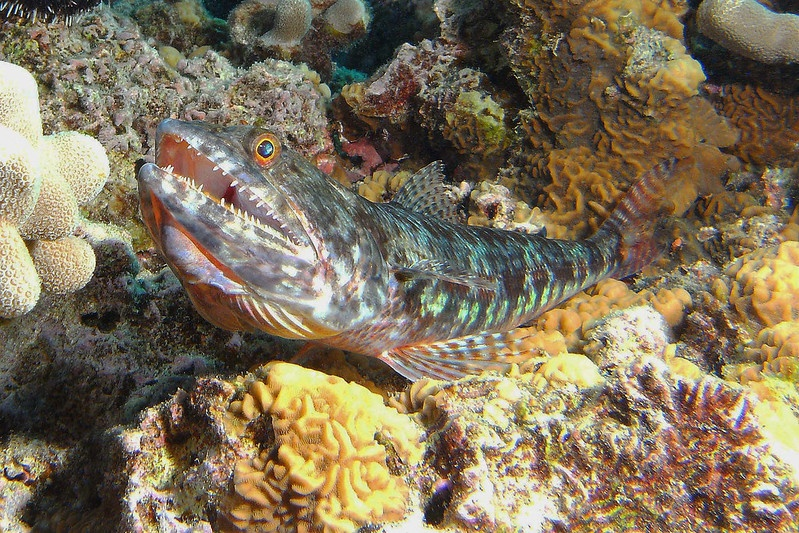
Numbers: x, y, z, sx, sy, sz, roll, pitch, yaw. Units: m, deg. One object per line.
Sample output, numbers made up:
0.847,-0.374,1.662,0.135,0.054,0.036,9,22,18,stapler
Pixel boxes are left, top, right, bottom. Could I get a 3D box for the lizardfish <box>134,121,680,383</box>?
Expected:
0.515,0.024,6.999,5.602,1.835,2.062,5,79,-36,lizardfish
